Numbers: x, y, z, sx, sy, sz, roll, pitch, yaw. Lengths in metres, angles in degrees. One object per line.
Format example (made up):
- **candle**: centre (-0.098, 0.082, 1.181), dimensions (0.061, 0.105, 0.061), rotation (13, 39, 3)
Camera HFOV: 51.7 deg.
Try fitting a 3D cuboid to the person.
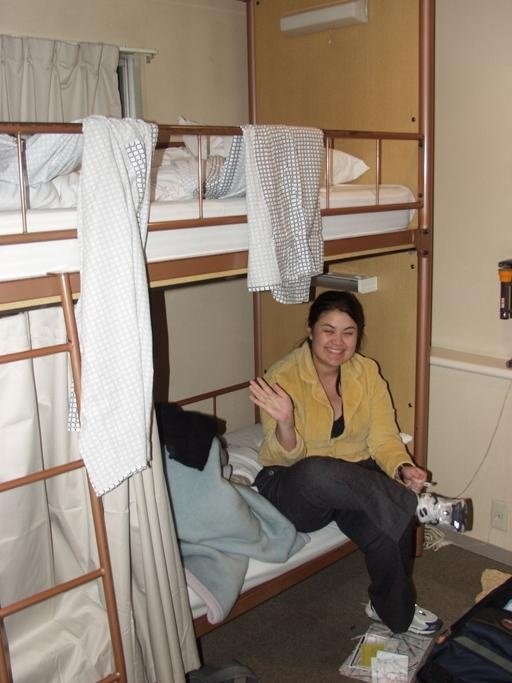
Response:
- **person**: centre (0.342, 0.525, 2.133), dimensions (0.711, 1.412, 0.862), rotation (-9, 6, -31)
